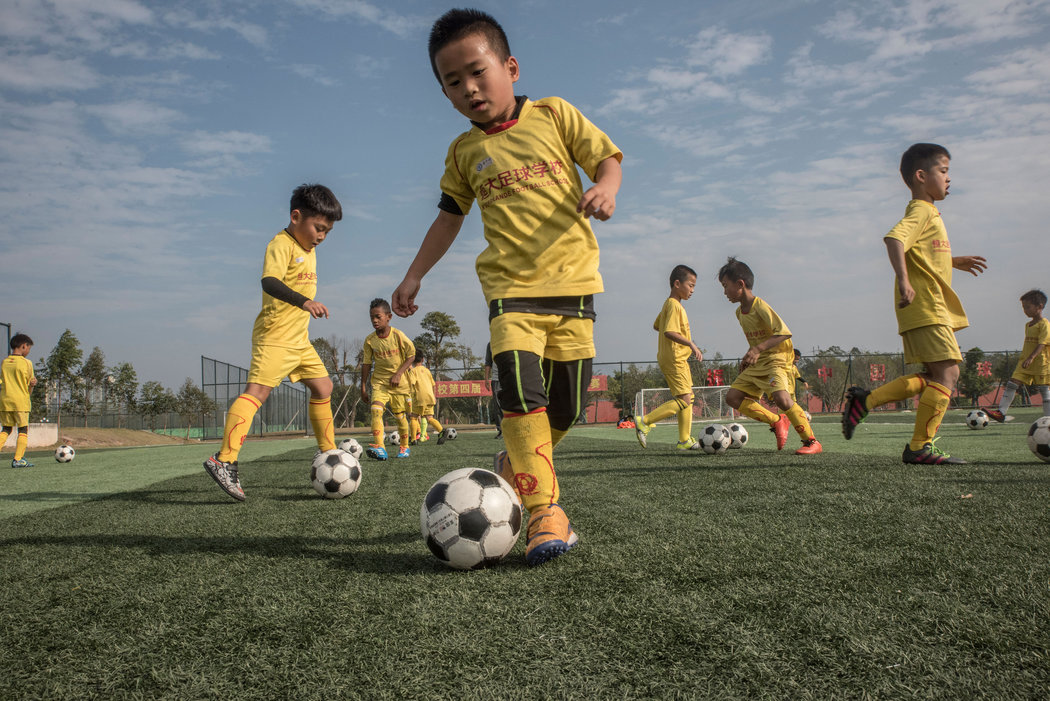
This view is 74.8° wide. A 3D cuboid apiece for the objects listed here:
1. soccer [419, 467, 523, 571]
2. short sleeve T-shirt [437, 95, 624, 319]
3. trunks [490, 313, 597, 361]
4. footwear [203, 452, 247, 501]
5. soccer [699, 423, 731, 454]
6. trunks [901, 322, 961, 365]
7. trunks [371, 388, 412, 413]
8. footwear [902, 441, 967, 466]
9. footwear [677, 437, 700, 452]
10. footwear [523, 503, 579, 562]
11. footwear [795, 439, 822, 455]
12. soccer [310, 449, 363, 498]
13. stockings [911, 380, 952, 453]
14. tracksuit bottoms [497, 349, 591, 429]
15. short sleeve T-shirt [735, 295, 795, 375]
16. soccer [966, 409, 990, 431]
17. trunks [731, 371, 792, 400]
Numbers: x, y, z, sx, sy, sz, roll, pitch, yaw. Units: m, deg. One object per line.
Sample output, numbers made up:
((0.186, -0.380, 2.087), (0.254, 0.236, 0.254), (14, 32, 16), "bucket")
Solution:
((-0.247, 0.826, 3.328), (0.481, 0.474, 0.476), (0, -11, -2), "soccer")
((0.069, -0.718, 3.365), (1.136, 1.190, 0.402), (-9, -16, 7), "short sleeve T-shirt")
((0.107, -0.083, 3.440), (0.558, 0.230, 0.208), (2, 1, -26), "trunks")
((-2.282, 0.966, 5.224), (0.259, 0.254, 0.415), (-2, -1, -24), "footwear")
((2.211, 1.006, 7.903), (0.326, 0.360, 0.320), (8, -1, 18), "soccer")
((3.218, -0.064, 5.394), (0.175, 0.265, 0.292), (-12, -1, -42), "trunks")
((-1.915, 0.722, 9.798), (0.320, 0.232, 0.460), (8, 5, 4), "trunks")
((3.384, 0.844, 5.612), (0.546, 0.209, 0.180), (-1, -7, 13), "footwear")
((2.148, 1.213, 8.893), (0.363, 0.165, 0.131), (4, -5, -33), "footwear")
((0.106, 0.835, 3.152), (0.201, 0.228, 0.212), (-3, -1, -2), "footwear")
((2.992, 1.011, 7.177), (0.148, 0.157, 0.393), (-8, -14, 33), "footwear")
((-1.424, 0.951, 5.277), (0.362, 0.344, 0.342), (0, -19, -7), "soccer")
((3.409, 0.526, 5.769), (0.305, 0.610, 0.561), (-3, -1, 29), "stockings")
((0.118, 0.139, 3.480), (0.517, 0.352, 0.281), (3, 3, -30), "tracksuit bottoms")
((2.690, -0.194, 7.628), (0.495, 0.825, 0.402), (-3, -1, 10), "short sleeve T-shirt")
((7.348, 1.122, 11.079), (0.285, 0.312, 0.273), (15, -11, 0), "soccer")
((2.679, 0.361, 7.719), (0.662, 0.332, 0.545), (-3, -1, 14), "trunks")
